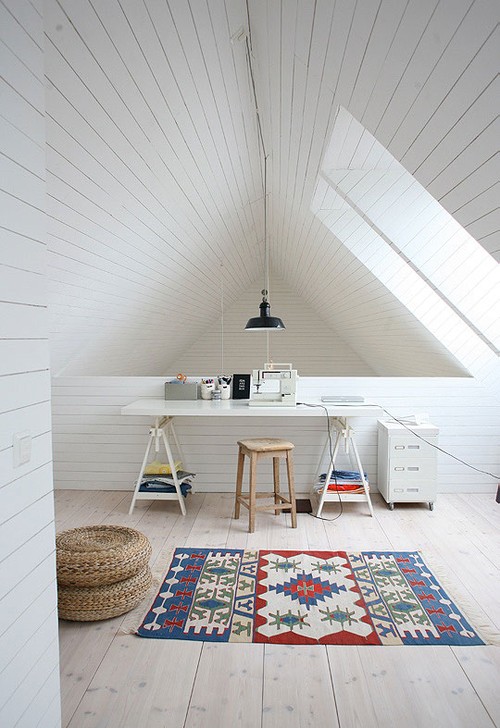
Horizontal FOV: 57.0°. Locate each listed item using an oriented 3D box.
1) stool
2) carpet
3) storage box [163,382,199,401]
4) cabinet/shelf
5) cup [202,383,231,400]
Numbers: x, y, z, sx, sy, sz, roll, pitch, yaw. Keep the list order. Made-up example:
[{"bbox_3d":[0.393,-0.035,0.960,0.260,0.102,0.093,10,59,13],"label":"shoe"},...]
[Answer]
[{"bbox_3d":[0.102,0.815,3.169,0.409,0.543,0.430,0,-1,-3],"label":"stool"},{"bbox_3d":[0.243,1.081,2.197,1.380,0.016,0.838,0,1,2],"label":"carpet"},{"bbox_3d":[-0.545,0.220,3.631,0.205,0.119,0.155,1,3,0],"label":"storage box"},{"bbox_3d":[1.187,0.746,3.527,0.412,0.638,0.391,0,1,12],"label":"cabinet/shelf"},{"bbox_3d":[-0.270,0.226,3.675,0.227,0.120,0.079,0,1,-6],"label":"cup"}]
